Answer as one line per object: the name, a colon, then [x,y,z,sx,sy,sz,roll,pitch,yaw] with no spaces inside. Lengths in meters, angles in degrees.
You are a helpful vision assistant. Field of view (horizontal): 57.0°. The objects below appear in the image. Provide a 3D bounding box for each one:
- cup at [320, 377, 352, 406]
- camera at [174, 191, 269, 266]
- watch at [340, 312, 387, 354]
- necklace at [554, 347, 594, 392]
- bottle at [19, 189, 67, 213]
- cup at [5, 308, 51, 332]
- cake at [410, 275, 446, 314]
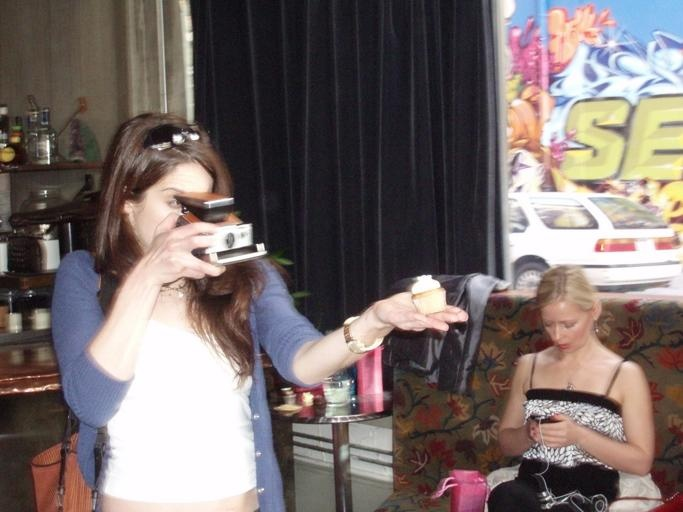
cup: [-0.018,0.605,2.811,0.114,0.093,0.124,-1,-9,0]
camera: [-0.271,-0.065,1.449,0.126,0.110,0.232,-5,14,-28]
watch: [0.049,0.193,1.538,0.094,0.092,0.073,-1,8,-1]
necklace: [0.891,0.436,2.407,0.121,0.168,0.042,6,3,25]
bottle: [-1.669,-0.310,3.535,0.209,0.183,0.205,0,-5,-6]
cup: [-1.507,0.315,3.043,0.170,0.079,0.169,-1,-5,0]
cake: [0.214,0.093,1.531,0.083,0.084,0.092,1,8,14]
